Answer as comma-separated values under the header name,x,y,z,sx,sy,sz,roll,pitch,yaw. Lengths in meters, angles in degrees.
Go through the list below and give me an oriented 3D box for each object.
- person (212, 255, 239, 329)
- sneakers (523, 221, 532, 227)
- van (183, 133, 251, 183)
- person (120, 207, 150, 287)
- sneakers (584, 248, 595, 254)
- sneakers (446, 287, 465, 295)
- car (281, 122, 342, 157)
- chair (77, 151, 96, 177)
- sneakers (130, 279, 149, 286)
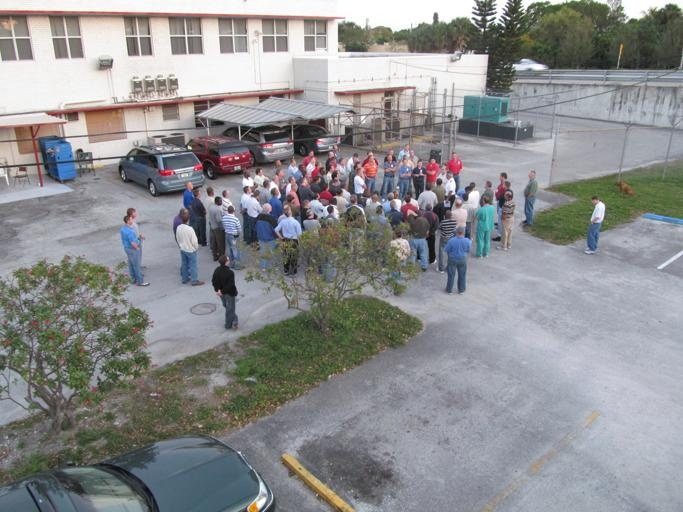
name,x,y,z,sx,sy,sz,roll,pitch,yaw
person,-2.621,0.763,11.067,0.473,1.800,0.678,-9,23,-16
sneakers,6.575,-1.173,17.507,0.332,0.241,0.116,15,34,40
van,-5.787,-4.584,22.464,1.562,1.356,3.158,-20,36,-41
person,-5.596,-0.319,13.193,0.528,1.968,1.387,-12,24,-23
sneakers,7.775,-0.164,15.455,0.119,0.150,0.320,-12,23,-19
sneakers,3.025,0.952,13.092,0.482,0.214,0.165,7,16,32
car,-1.650,-5.950,25.947,1.716,1.232,3.644,-19,32,-38
chair,-11.446,-4.173,22.005,0.731,1.030,2.718,-13,24,-24
sneakers,-5.347,0.703,13.104,0.452,0.195,0.185,2,24,-1
